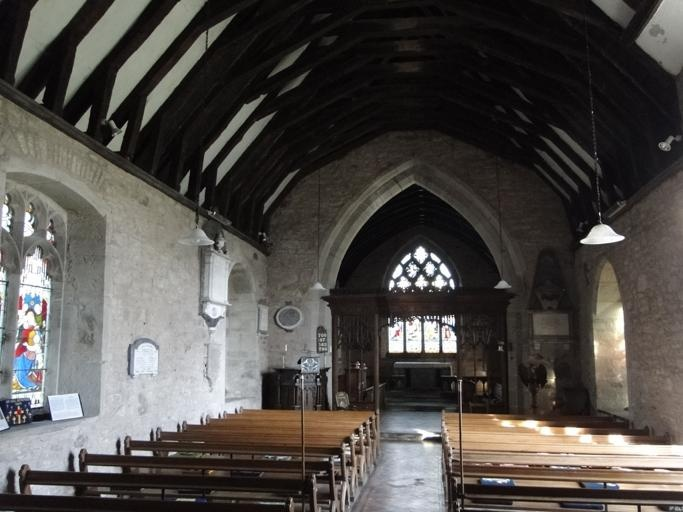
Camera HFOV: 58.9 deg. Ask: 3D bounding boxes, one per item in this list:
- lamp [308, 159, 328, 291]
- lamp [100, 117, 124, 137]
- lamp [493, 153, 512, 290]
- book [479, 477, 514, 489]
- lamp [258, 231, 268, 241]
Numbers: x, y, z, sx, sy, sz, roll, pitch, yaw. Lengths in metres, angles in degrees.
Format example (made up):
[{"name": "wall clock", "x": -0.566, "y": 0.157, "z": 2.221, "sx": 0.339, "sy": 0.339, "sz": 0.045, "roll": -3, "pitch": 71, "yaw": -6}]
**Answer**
[{"name": "lamp", "x": -0.601, "y": -0.668, "z": 15.705, "sx": 0.278, "sy": 3.177, "sz": 0.406, "roll": 5, "pitch": -14, "yaw": -25}, {"name": "lamp", "x": -3.228, "y": -1.821, "z": 8.444, "sx": 0.246, "sy": 0.255, "sz": 0.268, "roll": 1, "pitch": -13, "yaw": -7}, {"name": "lamp", "x": 3.918, "y": -0.821, "z": 14.962, "sx": 0.329, "sy": 3.471, "sz": 1.323, "roll": -4, "pitch": -13, "yaw": 15}, {"name": "book", "x": 1.699, "y": 2.493, "z": 6.636, "sx": 0.369, "sy": 0.052, "sz": 0.788, "roll": -4, "pitch": -14, "yaw": 12}, {"name": "lamp", "x": -1.943, "y": -0.477, "z": 14.817, "sx": 0.144, "sy": 0.213, "sz": 0.220, "roll": 5, "pitch": -41, "yaw": -7}]
